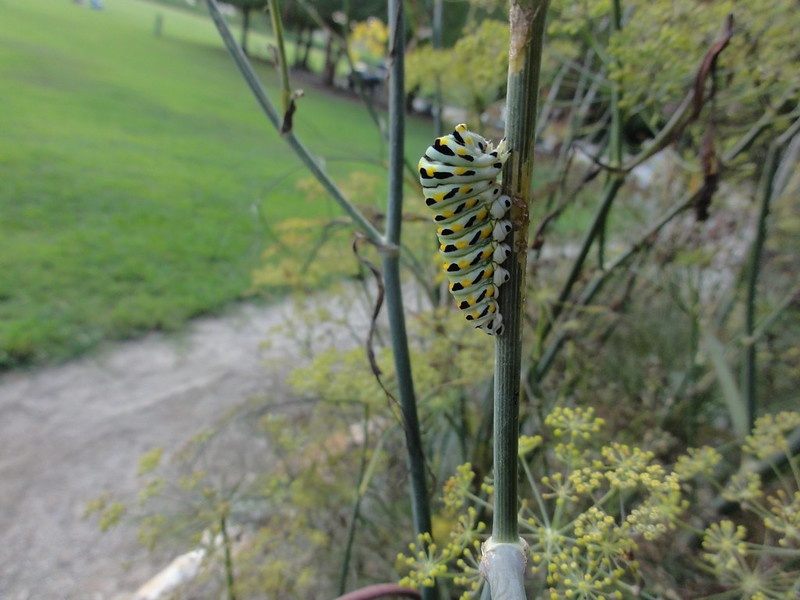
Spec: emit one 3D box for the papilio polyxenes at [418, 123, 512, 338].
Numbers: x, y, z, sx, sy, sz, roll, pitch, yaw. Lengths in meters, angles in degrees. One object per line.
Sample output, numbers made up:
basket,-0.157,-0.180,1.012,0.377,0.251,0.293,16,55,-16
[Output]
papilio polyxenes,0.172,-0.164,1.688,0.282,0.446,0.143,24,35,30
